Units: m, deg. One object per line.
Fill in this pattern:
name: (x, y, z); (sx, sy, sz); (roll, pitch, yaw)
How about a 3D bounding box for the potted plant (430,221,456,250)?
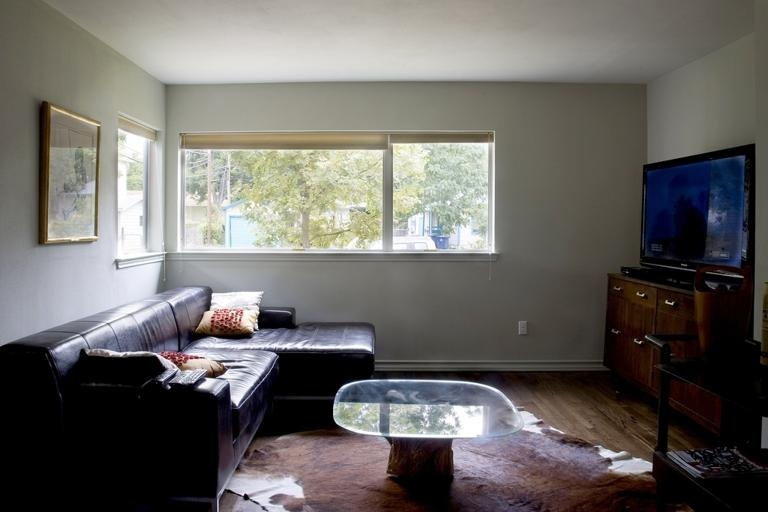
potted plant: (0.613, -0.213, 5.608); (0.278, 0.385, 0.254); (2, 0, 9)
